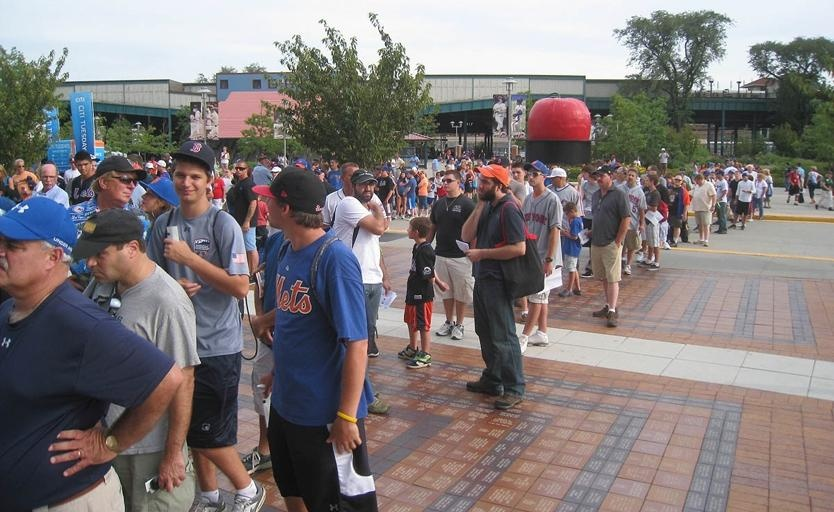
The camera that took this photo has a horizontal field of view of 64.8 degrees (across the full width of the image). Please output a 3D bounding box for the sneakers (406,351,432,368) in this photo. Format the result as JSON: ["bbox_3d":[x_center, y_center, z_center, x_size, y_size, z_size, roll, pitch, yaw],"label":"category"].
[{"bbox_3d":[0.032,1.388,8.764,0.392,0.174,0.146,-2,2,-24],"label":"sneakers"}]

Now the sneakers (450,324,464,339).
[{"bbox_3d":[0.583,1.138,9.780,0.202,0.195,0.487,0,-3,9],"label":"sneakers"}]

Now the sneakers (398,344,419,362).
[{"bbox_3d":[-0.102,1.324,8.922,0.345,0.202,0.147,5,7,44],"label":"sneakers"}]

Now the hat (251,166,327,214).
[{"bbox_3d":[-0.966,-0.484,4.957,0.433,0.234,0.302,25,21,5],"label":"hat"}]

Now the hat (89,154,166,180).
[{"bbox_3d":[-2.945,-0.882,6.501,0.413,0.211,0.283,-9,8,-24],"label":"hat"}]

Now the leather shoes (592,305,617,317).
[{"bbox_3d":[3.057,0.920,10.763,0.389,0.167,0.144,-3,4,10],"label":"leather shoes"}]

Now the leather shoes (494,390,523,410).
[{"bbox_3d":[1.050,1.680,7.639,0.158,0.145,0.348,-2,-2,35],"label":"leather shoes"}]

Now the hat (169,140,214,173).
[{"bbox_3d":[-1.926,-0.853,5.656,0.319,0.264,0.338,-5,16,-19],"label":"hat"}]

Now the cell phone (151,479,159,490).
[{"bbox_3d":[-1.879,1.652,4.721,0.060,0.091,0.032,7,16,24],"label":"cell phone"}]

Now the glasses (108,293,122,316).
[{"bbox_3d":[-2.194,0.350,4.755,0.069,0.160,0.112,2,-20,-37],"label":"glasses"}]

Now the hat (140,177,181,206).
[{"bbox_3d":[-2.442,-0.618,6.339,0.449,0.253,0.209,9,17,30],"label":"hat"}]

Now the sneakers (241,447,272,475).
[{"bbox_3d":[-1.642,2.013,6.467,0.449,0.205,0.226,5,-6,-29],"label":"sneakers"}]

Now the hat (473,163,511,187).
[{"bbox_3d":[0.897,-0.954,7.877,0.343,0.178,0.230,18,13,-15],"label":"hat"}]
